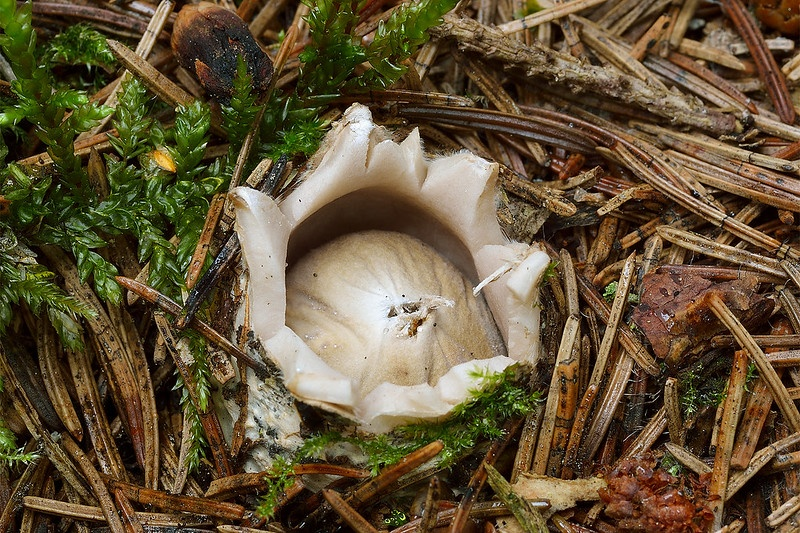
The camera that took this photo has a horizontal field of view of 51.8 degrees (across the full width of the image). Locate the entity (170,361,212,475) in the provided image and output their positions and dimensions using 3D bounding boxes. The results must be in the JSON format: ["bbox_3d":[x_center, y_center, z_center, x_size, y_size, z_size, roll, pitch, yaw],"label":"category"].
[{"bbox_3d":[-0.785,0.569,3.203,0.127,0.439,0.140,-2,9,24],"label":"entity"}]
